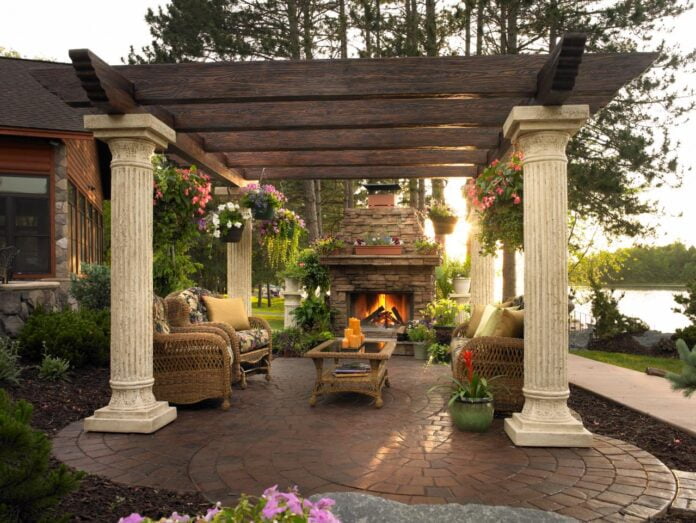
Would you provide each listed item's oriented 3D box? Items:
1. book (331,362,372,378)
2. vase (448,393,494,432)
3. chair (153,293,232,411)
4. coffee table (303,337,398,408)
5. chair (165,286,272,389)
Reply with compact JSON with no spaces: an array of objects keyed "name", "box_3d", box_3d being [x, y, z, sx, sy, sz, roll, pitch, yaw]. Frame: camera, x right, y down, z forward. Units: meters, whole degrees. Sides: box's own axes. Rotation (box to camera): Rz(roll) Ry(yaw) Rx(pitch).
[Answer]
[{"name":"book","box_3d":[0.043,1.419,8.120,0.489,0.107,0.483,0,5,-7]},{"name":"vase","box_3d":[1.373,1.680,6.856,0.450,0.288,0.426,-1,-5,10]},{"name":"chair","box_3d":[-1.897,1.132,7.964,1.029,1.306,1.097,3,3,-5]},{"name":"coffee table","box_3d":[0.088,1.449,8.698,1.065,0.735,2.077,1,6,6]},{"name":"chair","box_3d":[-1.795,1.090,8.735,1.386,1.300,1.444,5,2,3]}]
